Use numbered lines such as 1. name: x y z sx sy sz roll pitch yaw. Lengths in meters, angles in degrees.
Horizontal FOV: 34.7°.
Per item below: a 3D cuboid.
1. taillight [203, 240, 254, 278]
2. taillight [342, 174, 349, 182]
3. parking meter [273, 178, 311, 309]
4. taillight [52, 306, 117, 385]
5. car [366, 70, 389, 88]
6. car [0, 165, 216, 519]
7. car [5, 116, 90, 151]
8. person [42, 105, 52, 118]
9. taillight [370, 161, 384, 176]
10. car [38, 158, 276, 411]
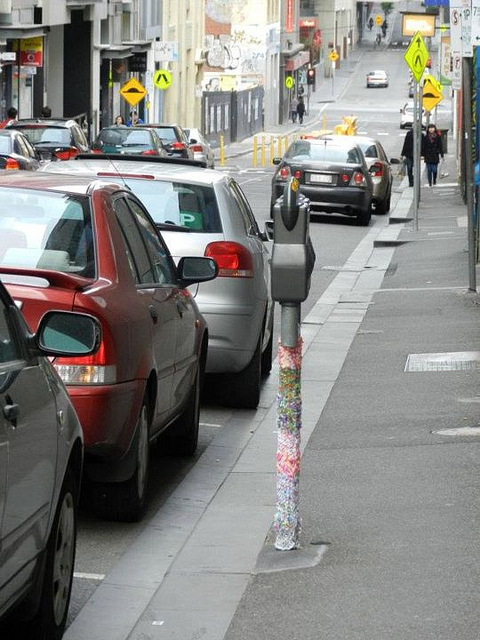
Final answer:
1. taillight: -0.080 -0.462 6.095 0.216 0.195 0.388 1 -2 9
2. taillight: 2.839 -3.752 20.633 0.143 0.170 0.086 -2 -6 12
3. parking meter: 0.191 -0.289 3.032 0.143 0.337 0.142 -3 2 13
4. taillight: -0.638 0.115 3.248 0.204 0.225 0.403 2 7 7
5. car: 17.958 -31.260 100.421 2.497 2.448 2.313 -4 2 9
6. car: -0.704 0.019 4.184 0.976 1.120 2.152 3 7 11
7. car: -6.248 -6.378 25.648 1.273 1.382 2.688 1 10 10
8. person: -8.579 -9.064 33.845 0.316 0.552 1.442 -5 2 -15
9. taillight: 4.112 -4.411 22.818 0.257 0.265 0.485 2 19 12
10. car: -0.301 -0.422 6.887 1.354 1.327 2.676 1 6 15
